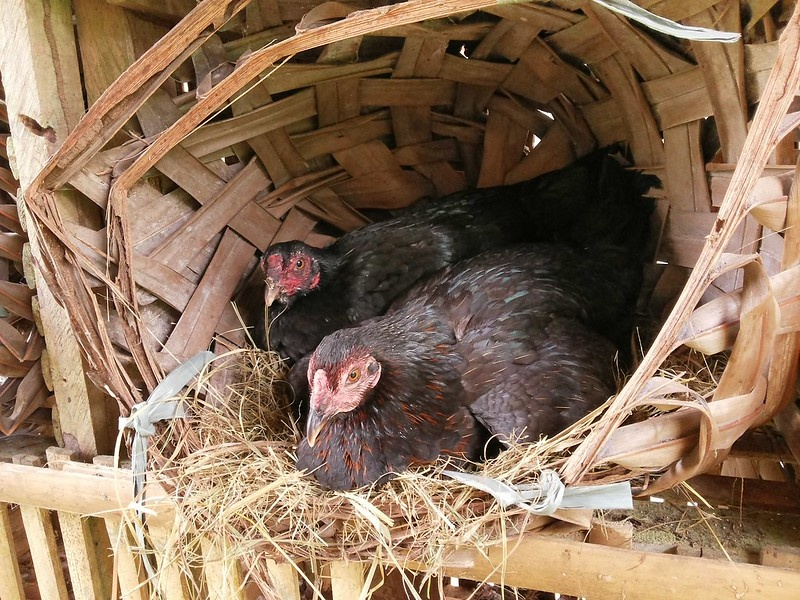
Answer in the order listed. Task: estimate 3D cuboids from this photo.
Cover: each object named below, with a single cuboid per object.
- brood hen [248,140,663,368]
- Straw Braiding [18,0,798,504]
[{"bbox_3d":[0.229,-0.147,1.901,0.919,0.396,0.581,-38,109,3],"label":"brood hen"},{"bbox_3d":[0.087,-0.182,1.620,1.321,0.518,1.163,19,72,28],"label":"Straw Braiding"}]
